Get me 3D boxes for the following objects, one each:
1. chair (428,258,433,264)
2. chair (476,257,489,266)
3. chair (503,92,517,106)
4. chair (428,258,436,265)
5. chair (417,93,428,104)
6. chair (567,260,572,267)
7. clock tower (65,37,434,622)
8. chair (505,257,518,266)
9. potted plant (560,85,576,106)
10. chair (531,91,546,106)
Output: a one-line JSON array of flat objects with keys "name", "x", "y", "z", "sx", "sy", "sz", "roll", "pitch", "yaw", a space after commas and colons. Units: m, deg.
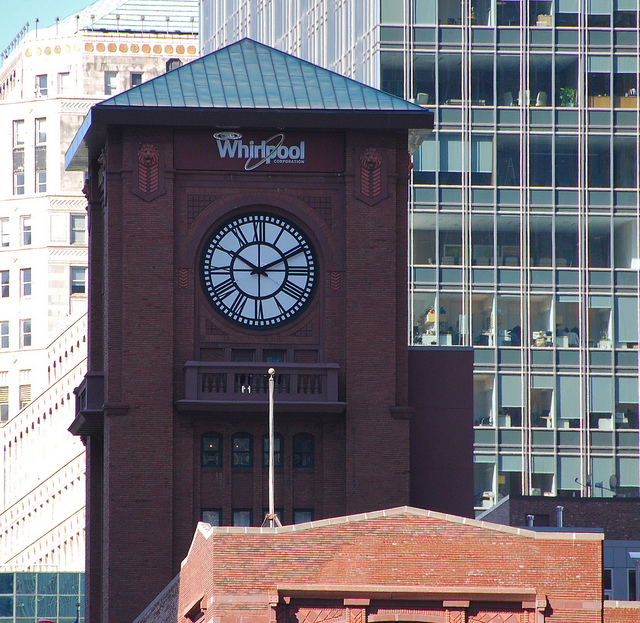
[{"name": "chair", "x": 6.168, "y": -3.271, "z": 147.065, "sx": 0.209, "sy": 0.352, "sz": 0.229, "roll": 2, "pitch": 0, "yaw": -6}, {"name": "chair", "x": 9.124, "y": -3.258, "z": 147.385, "sx": 0.724, "sy": 0.531, "sz": 0.348, "roll": -2, "pitch": -6, "yaw": -1}, {"name": "chair", "x": 10.747, "y": -12.487, "z": 149.076, "sx": 0.594, "sy": 0.873, "sz": 0.631, "roll": 1, "pitch": 4, "yaw": 38}, {"name": "chair", "x": 6.266, "y": -3.264, "z": 146.996, "sx": 0.428, "sy": 0.352, "sz": 0.196, "roll": -2, "pitch": -6, "yaw": 2}, {"name": "chair", "x": 5.775, "y": -12.457, "z": 147.905, "sx": 0.542, "sy": 0.585, "sz": 1.040, "roll": 7, "pitch": 1, "yaw": 3}, {"name": "chair", "x": 14.124, "y": -3.170, "z": 148.284, "sx": 0.138, "sy": 0.372, "sz": 0.195, "roll": -5, "pitch": -7, "yaw": 32}, {"name": "clock tower", "x": -2.596, "y": 1.610, "z": 126.117, "sx": 19.331, "sy": 38.555, "sz": 20.246, "roll": 0, "pitch": -10, "yaw": -1}, {"name": "chair", "x": 10.773, "y": -3.258, "z": 147.738, "sx": 0.757, "sy": 0.540, "sz": 0.324, "roll": 2, "pitch": -7, "yaw": -35}, {"name": "potted plant", "x": 14.071, "y": -12.722, "z": 149.442, "sx": 1.064, "sy": 1.207, "sz": 0.505, "roll": 1, "pitch": -5, "yaw": -7}, {"name": "chair", "x": 12.392, "y": -12.457, "z": 149.239, "sx": 0.729, "sy": 1.000, "sz": 0.727, "roll": -1, "pitch": -7, "yaw": 12}]
